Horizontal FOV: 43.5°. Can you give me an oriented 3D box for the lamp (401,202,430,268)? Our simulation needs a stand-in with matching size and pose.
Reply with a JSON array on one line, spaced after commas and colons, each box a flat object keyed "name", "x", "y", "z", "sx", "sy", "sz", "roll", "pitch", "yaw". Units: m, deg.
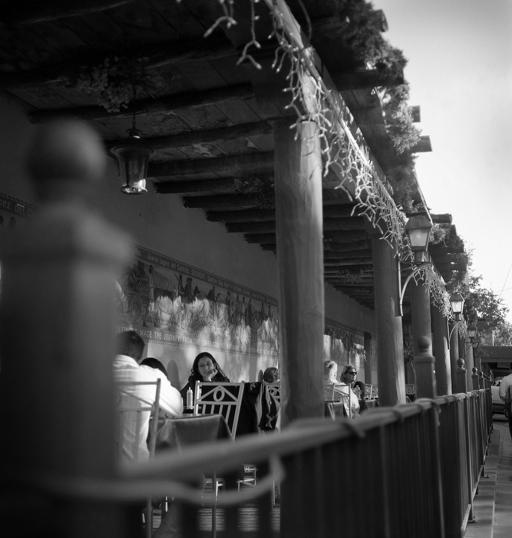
[{"name": "lamp", "x": 2.017, "y": -0.485, "z": 8.106, "sx": 0.311, "sy": 0.807, "sz": 0.801, "roll": -1, "pitch": -9, "yaw": 15}]

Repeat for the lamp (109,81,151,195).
[{"name": "lamp", "x": -0.994, "y": -0.989, "z": 5.094, "sx": 0.275, "sy": 1.004, "sz": 1.060, "roll": 3, "pitch": -9, "yaw": -13}]
